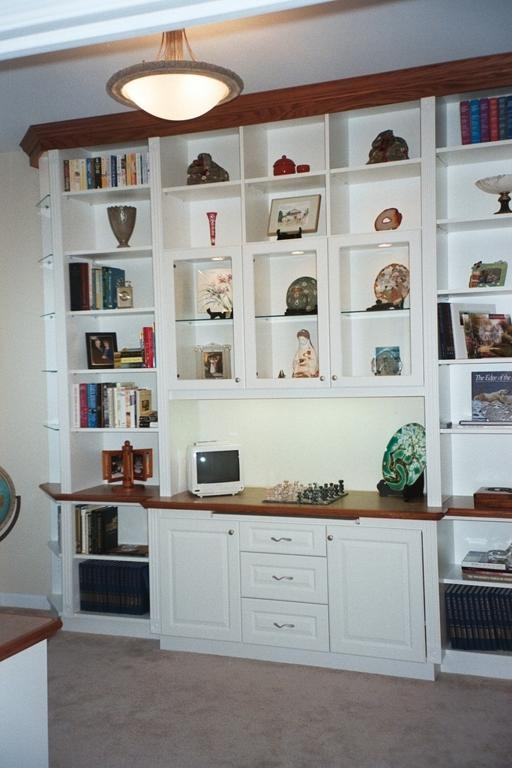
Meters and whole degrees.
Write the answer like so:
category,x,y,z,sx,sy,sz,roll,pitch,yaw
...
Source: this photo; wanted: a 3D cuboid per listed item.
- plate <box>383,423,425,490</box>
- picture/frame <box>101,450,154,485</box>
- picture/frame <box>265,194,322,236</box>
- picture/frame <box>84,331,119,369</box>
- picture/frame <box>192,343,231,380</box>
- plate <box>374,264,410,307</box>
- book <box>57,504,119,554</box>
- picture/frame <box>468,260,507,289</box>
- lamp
category,x,y,z,sx,sy,sz,roll,pitch,yaw
plate,0.805,0.399,3.450,0.065,0.334,0.241,16,7,-43
picture/frame,-0.796,0.512,4.001,0.260,0.177,0.239,-1,-1,7
picture/frame,0.222,-0.929,3.524,0.310,0.219,0.031,0,-21,26
picture/frame,-0.978,-0.209,4.033,0.224,0.297,0.029,3,-9,-32
picture/frame,-0.243,-0.123,3.629,0.207,0.216,0.037,-1,-1,22
plate,0.705,-0.504,3.304,0.050,0.205,0.204,1,-18,-40
book,-1.018,0.894,3.929,0.260,0.343,0.353,0,-1,10
picture/frame,1.156,-0.540,3.167,0.180,0.180,0.065,2,-9,23
lamp,-0.294,-1.083,2.233,0.407,0.391,0.408,-1,-1,-5
